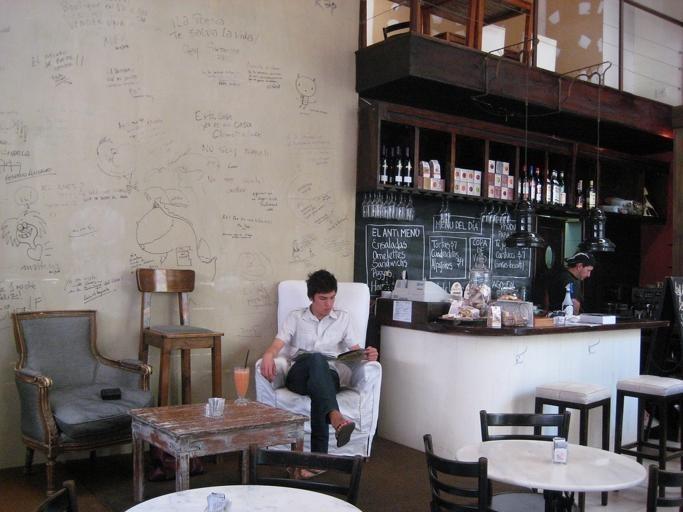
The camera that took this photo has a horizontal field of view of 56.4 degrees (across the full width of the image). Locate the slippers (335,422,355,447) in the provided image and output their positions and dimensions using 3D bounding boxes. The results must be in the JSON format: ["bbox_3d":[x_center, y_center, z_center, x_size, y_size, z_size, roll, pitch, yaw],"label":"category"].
[{"bbox_3d":[0.016,1.202,4.361,0.103,0.200,0.062,7,12,-42],"label":"slippers"}]

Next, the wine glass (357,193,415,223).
[{"bbox_3d":[0.518,-0.499,6.342,0.640,0.263,0.254,3,-3,-34],"label":"wine glass"}]

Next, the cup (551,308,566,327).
[{"bbox_3d":[1.904,0.544,5.558,0.124,0.137,0.119,0,3,0],"label":"cup"}]

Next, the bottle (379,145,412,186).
[{"bbox_3d":[0.504,-0.898,6.263,0.421,0.425,0.219,3,-3,-31],"label":"bottle"}]

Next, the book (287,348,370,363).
[{"bbox_3d":[-0.047,0.780,5.000,0.399,0.112,0.235,9,-7,12],"label":"book"}]

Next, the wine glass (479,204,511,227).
[{"bbox_3d":[1.812,-0.468,7.143,0.454,0.333,0.154,-2,4,-45],"label":"wine glass"}]

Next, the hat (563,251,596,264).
[{"bbox_3d":[2.444,0.038,6.525,0.218,0.108,0.166,-3,-3,29],"label":"hat"}]

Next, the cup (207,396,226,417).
[{"bbox_3d":[-0.767,0.932,3.964,0.109,0.127,0.108,1,0,0],"label":"cup"}]
